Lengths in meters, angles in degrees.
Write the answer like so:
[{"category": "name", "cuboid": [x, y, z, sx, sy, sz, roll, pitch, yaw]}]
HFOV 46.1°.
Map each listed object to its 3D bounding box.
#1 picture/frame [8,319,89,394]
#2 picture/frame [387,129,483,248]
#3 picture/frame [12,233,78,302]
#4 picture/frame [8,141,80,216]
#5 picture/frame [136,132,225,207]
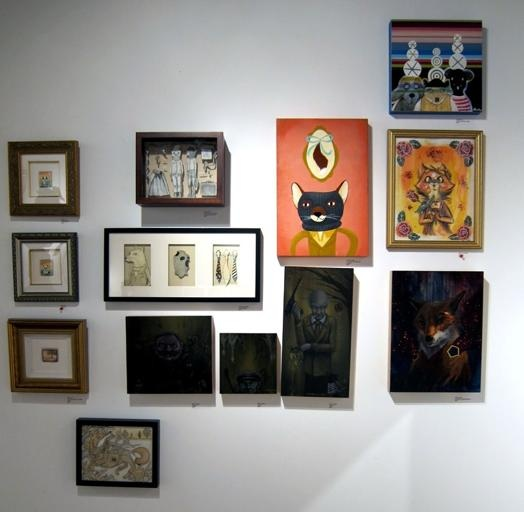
[{"category": "picture/frame", "cuboid": [-0.959, 0.456, 2.791, 0.235, 0.292, 0.039, 1, -1, -2]}, {"category": "picture/frame", "cuboid": [0.776, -0.294, 2.763, 0.378, 0.662, 0.037, 0, -1, 0]}, {"category": "picture/frame", "cuboid": [-0.971, 0.058, 2.793, 0.222, 0.326, 0.020, 0, 1, 0]}, {"category": "picture/frame", "cuboid": [-0.975, -0.350, 2.780, 0.240, 0.355, 0.023, 0, 1, 2]}, {"category": "picture/frame", "cuboid": [-0.355, -0.372, 2.695, 0.229, 0.263, 0.039, 0, -1, -2]}]
